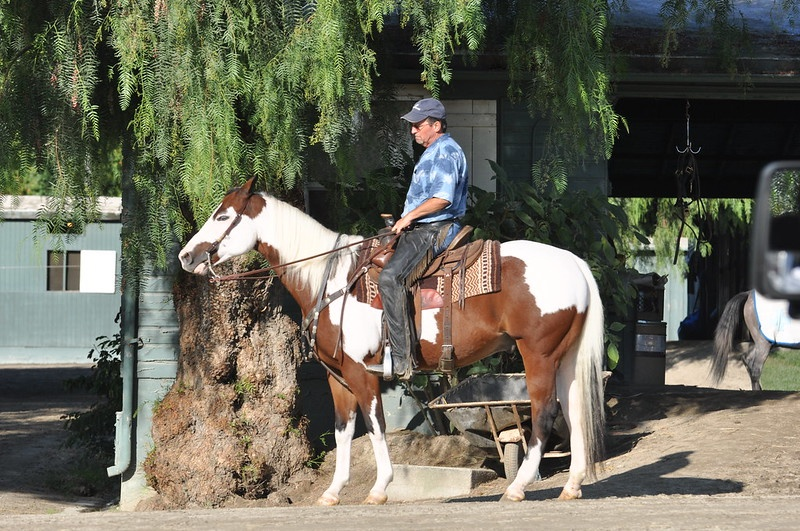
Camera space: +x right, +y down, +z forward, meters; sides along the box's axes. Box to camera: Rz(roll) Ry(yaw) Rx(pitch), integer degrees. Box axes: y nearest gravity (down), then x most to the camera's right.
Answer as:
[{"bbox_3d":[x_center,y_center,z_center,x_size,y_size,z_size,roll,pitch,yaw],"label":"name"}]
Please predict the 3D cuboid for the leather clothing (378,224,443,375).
[{"bbox_3d":[0.089,0.481,18.356,0.760,1.981,0.352,-2,2,-40],"label":"leather clothing"}]

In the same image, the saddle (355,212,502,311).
[{"bbox_3d":[0.429,-0.056,18.624,1.399,0.979,1.006,0,0,0],"label":"saddle"}]

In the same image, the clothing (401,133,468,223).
[{"bbox_3d":[0.463,-0.979,18.922,0.721,1.408,1.511,4,-3,-2],"label":"clothing"}]

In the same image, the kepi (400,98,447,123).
[{"bbox_3d":[0.342,-2.000,18.671,0.410,0.283,0.327,2,4,-3],"label":"kepi"}]

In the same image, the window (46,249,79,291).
[{"bbox_3d":[-9.391,0.213,38.622,0.967,1.375,0.097,-3,34,-21],"label":"window"}]

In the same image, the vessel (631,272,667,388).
[{"bbox_3d":[4.608,1.225,26.029,0.812,1.803,1.363,-4,5,8],"label":"vessel"}]
